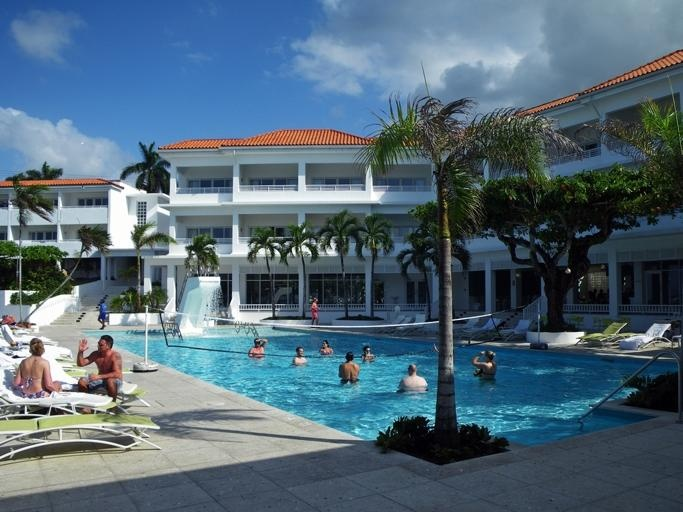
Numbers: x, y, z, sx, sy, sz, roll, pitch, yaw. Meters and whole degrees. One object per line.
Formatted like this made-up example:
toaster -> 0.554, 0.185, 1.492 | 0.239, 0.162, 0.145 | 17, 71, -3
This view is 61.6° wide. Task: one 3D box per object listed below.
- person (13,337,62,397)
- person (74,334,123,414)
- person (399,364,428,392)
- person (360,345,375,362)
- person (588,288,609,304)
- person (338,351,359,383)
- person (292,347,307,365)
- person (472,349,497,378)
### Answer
person -> -5.627, 2.099, 10.691 | 0.893, 1.077, 0.861 | 3, -1, 5
person -> -4.679, 2.300, 11.175 | 0.837, 1.433, 0.780 | -1, -7, -3
person -> 2.144, 3.610, 16.918 | 0.934, 0.965, 0.601 | 3, -1, 13
person -> 1.005, 3.647, 21.446 | 0.454, 0.577, 0.821 | 0, -3, 2
person -> 15.072, 2.325, 33.565 | 0.412, 0.807, 1.405 | 1, -3, -10
person -> 0.256, 3.389, 17.477 | 0.602, 0.909, 0.647 | 1, -3, 1
person -> -1.567, 3.786, 21.642 | 0.471, 0.739, 0.853 | -7, -9, 20
person -> 4.573, 3.366, 18.208 | 0.654, 0.831, 1.404 | 0, -3, 13
